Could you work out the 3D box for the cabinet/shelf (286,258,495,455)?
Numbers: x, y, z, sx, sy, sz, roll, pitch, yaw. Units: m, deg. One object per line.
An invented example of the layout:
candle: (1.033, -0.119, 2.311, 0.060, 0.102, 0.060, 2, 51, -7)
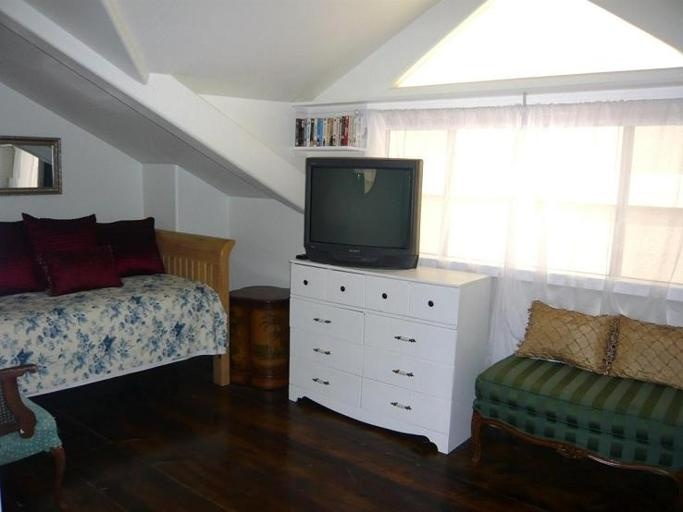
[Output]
cabinet/shelf: (0.361, 0.661, 3.262, 1.058, 0.875, 0.443, 6, 8, 33)
